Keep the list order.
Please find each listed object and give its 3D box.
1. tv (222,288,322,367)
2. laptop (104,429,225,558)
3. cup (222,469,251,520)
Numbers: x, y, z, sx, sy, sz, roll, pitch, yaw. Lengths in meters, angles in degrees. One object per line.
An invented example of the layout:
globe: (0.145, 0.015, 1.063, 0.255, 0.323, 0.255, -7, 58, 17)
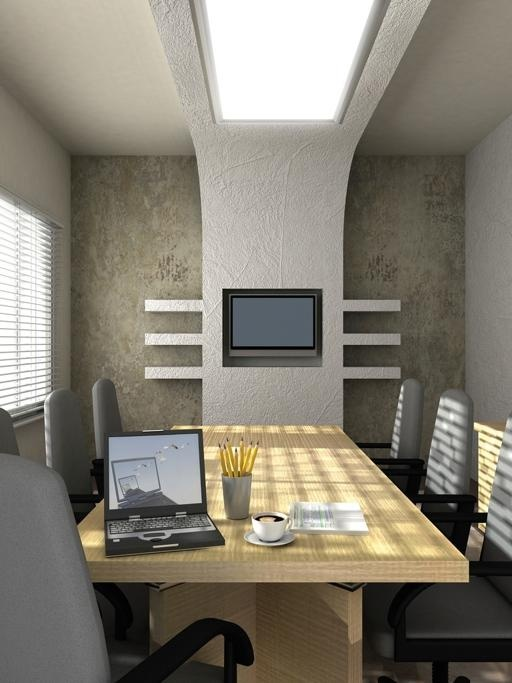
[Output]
tv: (0.128, -0.116, 4.201, 0.822, 0.639, 0.196, 0, 5, 5)
laptop: (-0.233, 0.326, 1.165, 0.212, 0.195, 0.248, 0, -2, -13)
cup: (-0.048, 0.376, 1.239, 0.089, 0.120, 0.102, 0, -4, -2)
